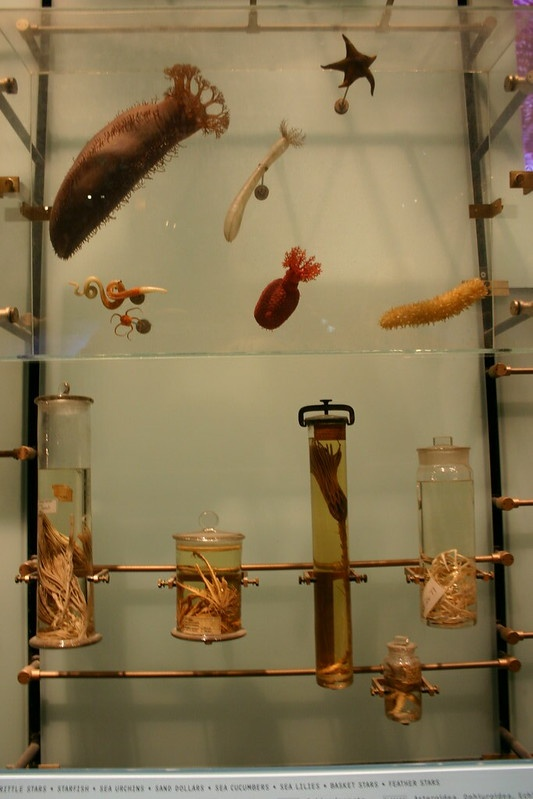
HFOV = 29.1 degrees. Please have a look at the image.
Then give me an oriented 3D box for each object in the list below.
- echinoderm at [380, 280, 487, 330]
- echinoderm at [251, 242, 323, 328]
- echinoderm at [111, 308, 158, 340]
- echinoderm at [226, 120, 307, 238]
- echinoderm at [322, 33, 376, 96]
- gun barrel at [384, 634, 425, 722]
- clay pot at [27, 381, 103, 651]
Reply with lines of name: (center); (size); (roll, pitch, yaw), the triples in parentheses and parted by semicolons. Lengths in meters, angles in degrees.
echinoderm: (0.295, -0.169, 1.861); (0.147, 0.050, 0.042); (-23, 0, -2)
echinoderm: (0.034, -0.191, 1.853); (0.092, 0.165, 0.060); (40, -9, 4)
echinoderm: (-0.243, -0.131, 1.833); (0.054, 0.052, 0.017); (1, 8, 13)
echinoderm: (0.041, -0.405, 1.920); (0.084, 0.273, 0.072); (32, -7, 15)
echinoderm: (0.155, -0.610, 1.887); (0.096, 0.093, 0.042); (3, -14, -22)
gun barrel: (0.248, 0.505, 1.864); (0.069, 0.135, 0.065); (1, -1, 0)
clay pot: (-0.348, 0.215, 1.804); (0.120, 0.434, 0.080); (4, -14, -23)
